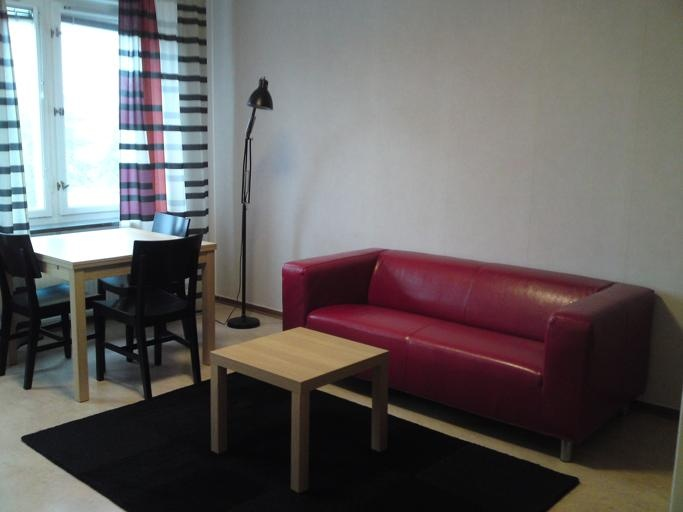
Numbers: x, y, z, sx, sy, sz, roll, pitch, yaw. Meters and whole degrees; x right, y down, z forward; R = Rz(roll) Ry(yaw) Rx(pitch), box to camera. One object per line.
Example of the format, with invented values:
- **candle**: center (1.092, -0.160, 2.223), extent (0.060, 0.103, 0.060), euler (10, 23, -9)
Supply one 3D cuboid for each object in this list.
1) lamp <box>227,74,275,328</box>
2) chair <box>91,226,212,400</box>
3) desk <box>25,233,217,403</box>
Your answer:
- **lamp**: center (-0.790, -0.461, 4.644), extent (0.418, 2.031, 0.777), euler (-1, 14, -7)
- **chair**: center (-1.258, 0.345, 3.604), extent (0.596, 1.010, 0.577), euler (8, 11, 23)
- **desk**: center (-1.578, 0.199, 3.858), extent (1.087, 0.976, 1.062), euler (12, 15, 41)
